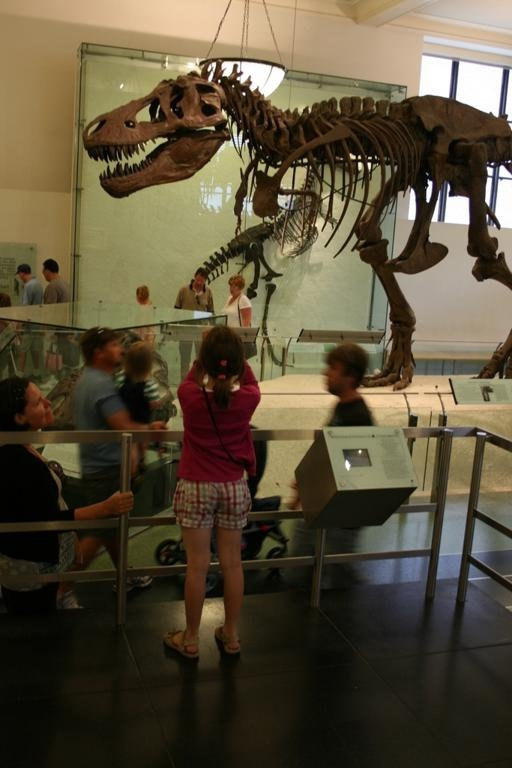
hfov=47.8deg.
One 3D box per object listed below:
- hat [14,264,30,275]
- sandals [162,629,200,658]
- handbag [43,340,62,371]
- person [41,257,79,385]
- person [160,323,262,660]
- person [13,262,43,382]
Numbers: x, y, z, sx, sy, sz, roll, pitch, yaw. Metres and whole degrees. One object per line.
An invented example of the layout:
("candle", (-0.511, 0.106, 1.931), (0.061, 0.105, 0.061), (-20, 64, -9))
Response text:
("hat", (-3.181, -1.549, 7.831), (0.169, 0.130, 0.232), (-12, 50, -34))
("sandals", (-0.292, 1.006, 2.223), (0.077, 0.066, 0.155), (0, 13, -31))
("handbag", (-1.053, -0.142, 2.997), (0.090, 0.169, 0.032), (2, 4, -29))
("person", (-2.571, -0.838, 7.199), (0.379, 1.300, 0.414), (-5, 5, -32))
("person", (-0.158, 0.424, 2.106), (0.283, 1.265, 0.432), (4, 4, 0))
("person", (-2.749, -0.761, 6.906), (0.390, 1.339, 0.386), (14, 12, 27))
